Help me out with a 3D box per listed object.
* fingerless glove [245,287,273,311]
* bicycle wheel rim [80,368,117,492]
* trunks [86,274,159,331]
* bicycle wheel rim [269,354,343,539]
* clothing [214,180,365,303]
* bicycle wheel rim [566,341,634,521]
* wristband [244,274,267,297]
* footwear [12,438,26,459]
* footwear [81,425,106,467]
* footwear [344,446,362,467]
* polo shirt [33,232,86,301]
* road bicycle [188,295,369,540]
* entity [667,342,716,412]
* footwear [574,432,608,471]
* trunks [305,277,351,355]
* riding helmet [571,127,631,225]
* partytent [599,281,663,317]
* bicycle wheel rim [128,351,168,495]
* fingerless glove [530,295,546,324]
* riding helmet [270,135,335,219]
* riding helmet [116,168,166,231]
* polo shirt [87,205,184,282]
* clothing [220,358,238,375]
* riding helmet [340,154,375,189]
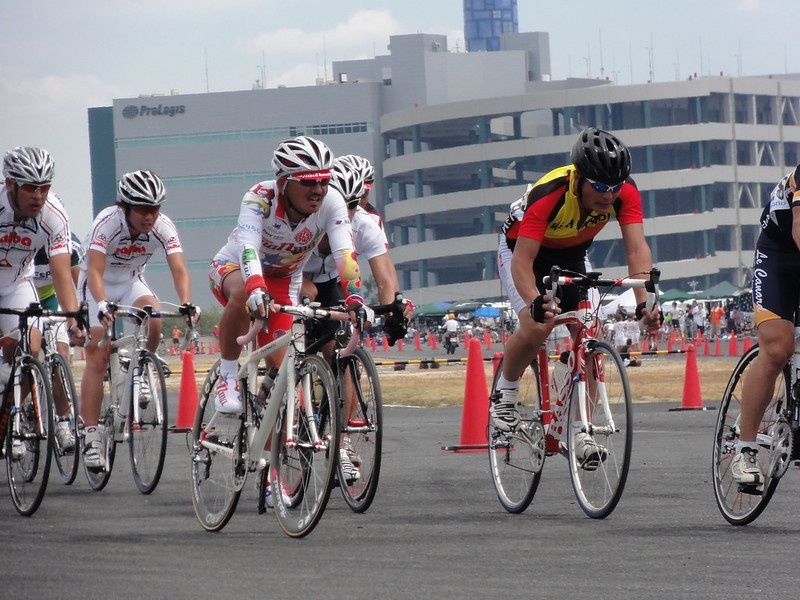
[{"bbox_3d":[-1.014,0.001,11.452,0.140,0.171,0.206,-3,4,-30],"label":"fingerless glove"},{"bbox_3d":[-2.662,1.152,14.181,0.276,1.130,0.338,-4,-28,-11],"label":"bicycle wheel rim"},{"bbox_3d":[-2.494,0.046,14.463,0.412,0.170,0.560,-9,26,-7],"label":"trunks"},{"bbox_3d":[-0.684,1.043,11.410,0.223,1.303,0.724,-3,4,-34],"label":"bicycle wheel rim"},{"bbox_3d":[-0.835,-0.471,12.091,0.661,0.795,1.187,4,10,-25],"label":"clothing"},{"bbox_3d":[1.439,0.948,11.792,0.255,1.318,0.789,-2,4,-22],"label":"bicycle wheel rim"},{"bbox_3d":[-1.041,-0.107,11.562,0.138,0.101,0.137,0,-8,-6],"label":"wristband"},{"bbox_3d":[-3.011,1.170,12.694,0.113,0.153,0.040,-1,-7,12],"label":"footwear"},{"bbox_3d":[-2.675,1.284,14.035,0.142,0.279,0.412,2,-18,-14],"label":"footwear"},{"bbox_3d":[-0.366,1.183,12.203,0.090,0.064,0.208,-23,-51,17],"label":"footwear"},{"bbox_3d":[-2.989,-0.277,14.015,0.642,0.522,0.208,0,-5,31],"label":"polo shirt"},{"bbox_3d":[-1.081,0.855,11.939,0.745,1.685,2.580,12,-7,-28],"label":"road bicycle"},{"bbox_3d":[3.804,0.991,20.486,0.775,0.988,0.761,1,0,-4],"label":"entity"},{"bbox_3d":[1.378,1.126,11.849,0.204,0.154,0.359,-3,-1,-13],"label":"footwear"},{"bbox_3d":[-0.561,0.073,12.981,0.313,0.375,0.609,6,-11,-38],"label":"trunks"},{"bbox_3d":[1.492,-0.927,11.824,0.435,0.448,0.562,7,25,-26],"label":"riding helmet"},{"bbox_3d":[3.601,0.034,26.226,1.145,0.725,1.509,-2,-5,7],"label":"partytent"},{"bbox_3d":[-2.182,1.043,13.856,0.276,1.118,1.160,3,-21,-22],"label":"bicycle wheel rim"},{"bbox_3d":[0.978,0.063,11.731,0.105,0.194,0.191,-1,4,4],"label":"fingerless glove"},{"bbox_3d":[-0.737,-0.886,11.868,0.420,0.647,0.448,-1,4,-4],"label":"riding helmet"},{"bbox_3d":[-2.332,-0.909,14.221,0.419,0.476,0.553,-2,25,-21],"label":"riding helmet"},{"bbox_3d":[-2.498,-0.453,14.454,0.885,0.717,0.603,9,-3,-37],"label":"polo shirt"},{"bbox_3d":[-1.296,0.496,12.220,0.117,0.125,0.117,-4,-5,28],"label":"clothing"},{"bbox_3d":[-0.416,-1.090,13.748,0.336,0.319,0.264,-8,1,24],"label":"riding helmet"}]
